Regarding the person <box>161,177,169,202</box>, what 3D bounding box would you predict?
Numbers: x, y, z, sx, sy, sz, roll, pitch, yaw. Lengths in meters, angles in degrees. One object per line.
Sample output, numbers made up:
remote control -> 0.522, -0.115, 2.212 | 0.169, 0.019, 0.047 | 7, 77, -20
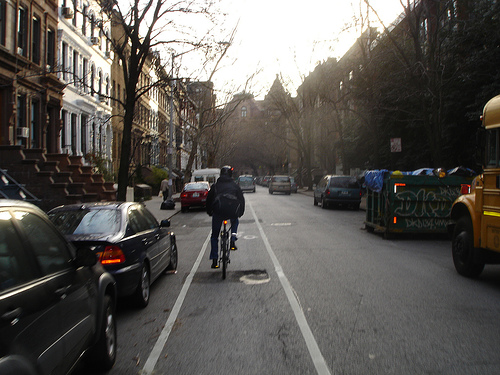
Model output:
person -> -7.181, 0.217, 32.367 | 0.479, 1.762, 2.905 | -1, 1, -14

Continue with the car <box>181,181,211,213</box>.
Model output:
car -> -3.761, 0.899, 26.750 | 1.650, 1.970, 4.625 | -1, 5, 1

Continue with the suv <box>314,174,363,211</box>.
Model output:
suv -> 6.003, 0.306, 26.153 | 2.304, 2.353, 3.151 | -1, 1, -7

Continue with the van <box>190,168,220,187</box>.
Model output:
van -> -4.025, -0.967, 33.686 | 1.337, 1.715, 2.387 | 1, 6, 26

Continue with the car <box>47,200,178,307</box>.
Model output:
car -> -2.181, 0.968, 7.192 | 1.171, 1.223, 3.131 | -1, 3, 3
